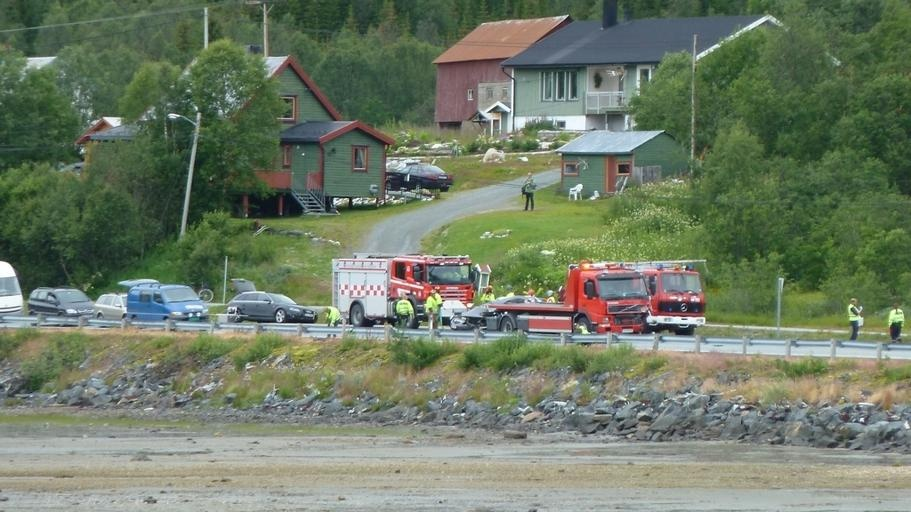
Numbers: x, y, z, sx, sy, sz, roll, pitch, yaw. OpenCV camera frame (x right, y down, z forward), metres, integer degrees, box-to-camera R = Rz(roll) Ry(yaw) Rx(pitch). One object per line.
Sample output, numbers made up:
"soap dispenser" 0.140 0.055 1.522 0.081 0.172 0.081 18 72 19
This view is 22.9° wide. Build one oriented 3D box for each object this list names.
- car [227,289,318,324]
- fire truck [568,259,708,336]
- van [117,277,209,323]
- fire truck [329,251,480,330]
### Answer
"car" -15.183 4.102 186.046 6.717 1.902 2.953 -1 -1 23
"fire truck" 16.187 2.986 182.811 4.438 5.364 10.898 -1 0 -21
"van" -23.913 3.566 186.499 5.910 2.870 3.510 -1 0 27
"fire truck" -4.145 2.659 184.361 6.195 5.290 11.374 -3 2 -42
